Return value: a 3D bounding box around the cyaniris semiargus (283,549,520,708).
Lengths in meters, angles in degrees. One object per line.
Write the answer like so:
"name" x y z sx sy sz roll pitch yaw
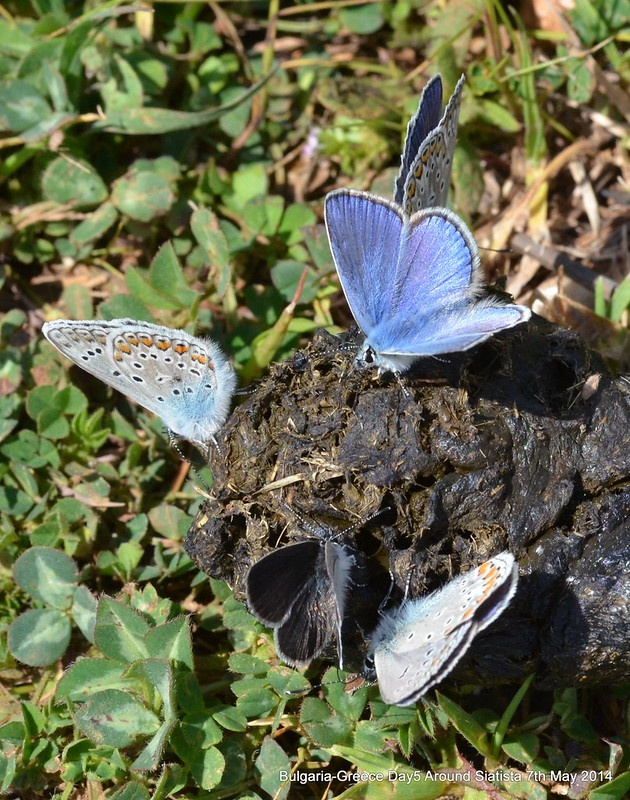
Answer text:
"cyaniris semiargus" 0.245 0.575 2.521 0.599 0.562 0.274 -38 105 -4
